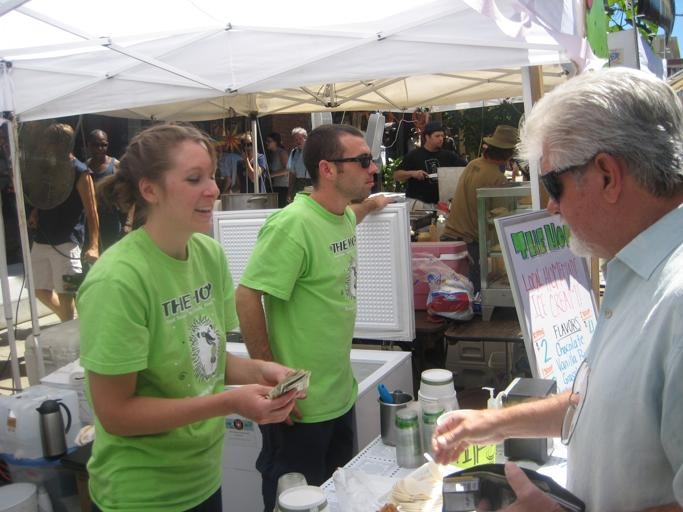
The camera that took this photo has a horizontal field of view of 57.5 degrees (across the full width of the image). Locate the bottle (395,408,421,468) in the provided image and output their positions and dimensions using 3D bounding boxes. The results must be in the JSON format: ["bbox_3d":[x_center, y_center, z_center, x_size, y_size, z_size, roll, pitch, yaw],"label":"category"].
[{"bbox_3d":[0.295,0.814,2.742,0.123,0.231,0.127,-2,2,0],"label":"bottle"}]

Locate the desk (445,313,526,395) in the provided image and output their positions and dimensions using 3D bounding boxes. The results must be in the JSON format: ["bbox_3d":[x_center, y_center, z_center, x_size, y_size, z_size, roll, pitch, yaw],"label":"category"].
[{"bbox_3d":[1.189,0.716,4.872,0.548,0.358,0.564,-5,6,36],"label":"desk"}]

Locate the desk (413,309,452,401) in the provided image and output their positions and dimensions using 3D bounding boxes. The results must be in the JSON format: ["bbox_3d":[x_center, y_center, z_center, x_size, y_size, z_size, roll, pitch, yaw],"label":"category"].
[{"bbox_3d":[0.735,0.755,5.099,0.394,0.600,0.513,1,3,23],"label":"desk"}]

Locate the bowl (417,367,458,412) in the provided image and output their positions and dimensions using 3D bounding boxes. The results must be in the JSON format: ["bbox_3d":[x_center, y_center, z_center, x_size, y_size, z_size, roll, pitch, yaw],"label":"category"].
[{"bbox_3d":[0.449,0.602,2.913,0.166,0.168,0.192,11,16,26],"label":"bowl"}]

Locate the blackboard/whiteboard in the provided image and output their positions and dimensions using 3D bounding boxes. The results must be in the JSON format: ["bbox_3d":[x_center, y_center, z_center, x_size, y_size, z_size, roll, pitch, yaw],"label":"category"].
[{"bbox_3d":[1.034,0.187,3.125,0.465,1.027,0.544,7,14,27],"label":"blackboard/whiteboard"}]

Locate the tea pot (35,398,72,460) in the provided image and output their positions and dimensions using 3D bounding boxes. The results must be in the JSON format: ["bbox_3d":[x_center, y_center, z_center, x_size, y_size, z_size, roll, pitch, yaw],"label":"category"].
[{"bbox_3d":[-1.750,1.076,3.805,0.145,0.379,0.215,1,8,33],"label":"tea pot"}]

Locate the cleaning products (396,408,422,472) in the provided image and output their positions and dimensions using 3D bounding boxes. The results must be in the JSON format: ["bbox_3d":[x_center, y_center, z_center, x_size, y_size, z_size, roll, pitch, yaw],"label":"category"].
[{"bbox_3d":[0.297,0.816,2.741,0.127,0.235,0.133,-3,3,3],"label":"cleaning products"}]

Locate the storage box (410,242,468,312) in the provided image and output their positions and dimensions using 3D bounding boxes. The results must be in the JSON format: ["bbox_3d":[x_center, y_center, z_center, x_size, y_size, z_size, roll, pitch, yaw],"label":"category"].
[{"bbox_3d":[0.856,0.159,5.573,0.540,0.627,0.462,6,16,21],"label":"storage box"}]

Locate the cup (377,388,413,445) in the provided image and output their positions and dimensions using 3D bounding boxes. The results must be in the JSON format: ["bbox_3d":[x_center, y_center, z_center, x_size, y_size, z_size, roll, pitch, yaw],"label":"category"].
[{"bbox_3d":[0.233,0.754,2.911,0.185,0.210,0.247,-4,4,-18],"label":"cup"}]

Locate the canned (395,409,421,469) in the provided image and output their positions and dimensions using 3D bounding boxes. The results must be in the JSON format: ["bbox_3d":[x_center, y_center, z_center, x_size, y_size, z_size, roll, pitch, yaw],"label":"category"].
[{"bbox_3d":[0.298,0.811,2.745,0.129,0.240,0.133,-2,1,22],"label":"canned"}]
